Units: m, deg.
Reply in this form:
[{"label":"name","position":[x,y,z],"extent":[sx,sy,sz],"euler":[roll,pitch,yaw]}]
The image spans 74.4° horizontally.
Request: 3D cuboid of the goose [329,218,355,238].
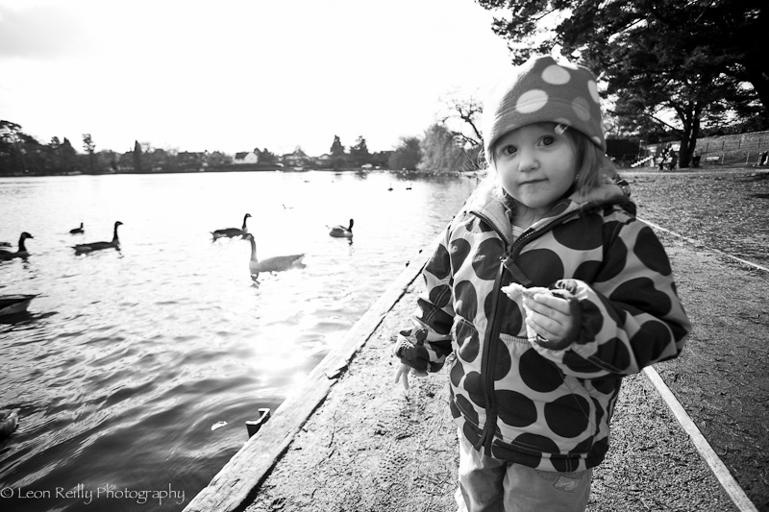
[{"label":"goose","position":[-1.531,-1.042,18.936],"extent":[0.679,0.741,1.016],"euler":[-2,7,-45]}]
